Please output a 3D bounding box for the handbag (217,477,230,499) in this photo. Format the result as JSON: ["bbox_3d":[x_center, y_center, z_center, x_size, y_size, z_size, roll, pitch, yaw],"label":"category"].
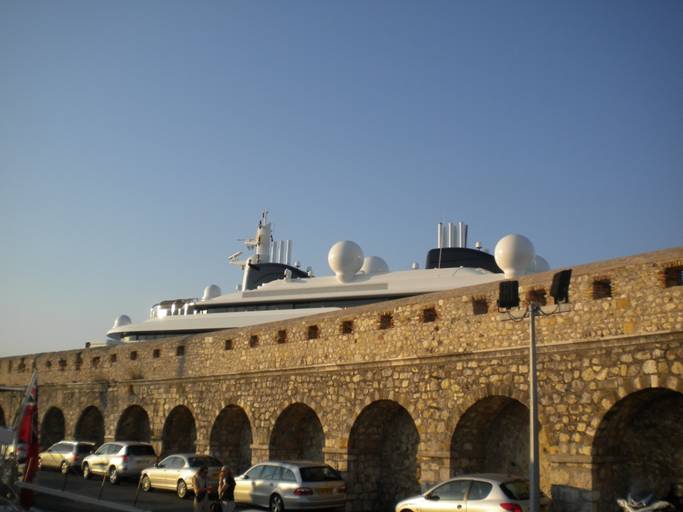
[{"bbox_3d":[-2.847,5.601,19.868,0.177,0.484,0.353,-3,4,-5],"label":"handbag"}]
